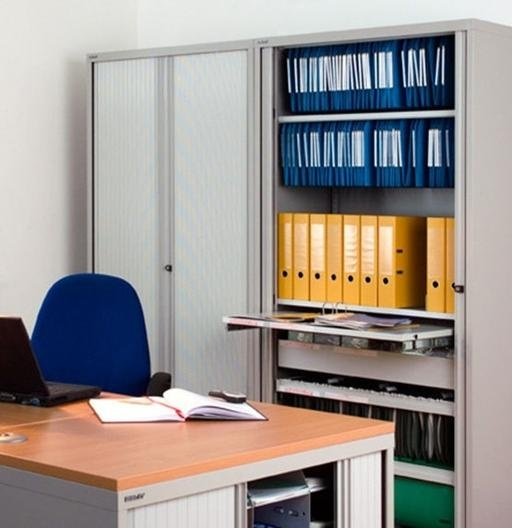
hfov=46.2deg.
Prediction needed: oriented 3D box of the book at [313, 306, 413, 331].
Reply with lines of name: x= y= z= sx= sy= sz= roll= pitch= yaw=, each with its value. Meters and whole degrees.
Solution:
book: x=0.450 y=0.241 z=2.562 sx=0.399 sy=0.048 sz=0.333 roll=0 pitch=-1 yaw=26

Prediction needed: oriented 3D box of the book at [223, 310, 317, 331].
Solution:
book: x=0.067 y=0.269 z=2.720 sx=0.428 sy=0.088 sz=0.448 roll=0 pitch=-1 yaw=5
